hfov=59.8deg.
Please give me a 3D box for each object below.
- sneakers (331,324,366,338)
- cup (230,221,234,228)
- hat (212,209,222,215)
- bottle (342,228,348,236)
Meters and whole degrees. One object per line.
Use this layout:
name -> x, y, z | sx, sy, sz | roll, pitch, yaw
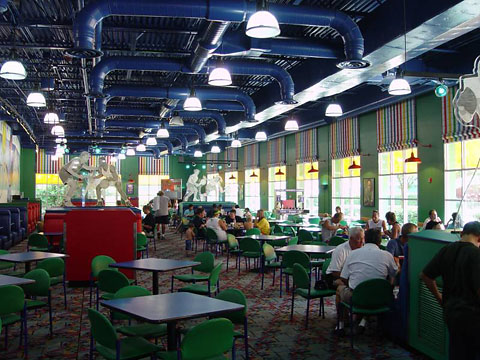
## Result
sneakers -> 1.510, 2.086, 5.877 | 0.501, 0.218, 0.186 | 1, -11, -7
cup -> -0.236, 1.312, 12.299 | 0.085, 0.144, 0.147 | 0, -2, -6
hat -> -0.647, 0.898, 11.781 | 0.265, 0.133, 0.184 | -7, 0, -43
bottle -> 2.644, 1.291, 10.541 | 0.077, 0.193, 0.134 | 37, -44, -25
